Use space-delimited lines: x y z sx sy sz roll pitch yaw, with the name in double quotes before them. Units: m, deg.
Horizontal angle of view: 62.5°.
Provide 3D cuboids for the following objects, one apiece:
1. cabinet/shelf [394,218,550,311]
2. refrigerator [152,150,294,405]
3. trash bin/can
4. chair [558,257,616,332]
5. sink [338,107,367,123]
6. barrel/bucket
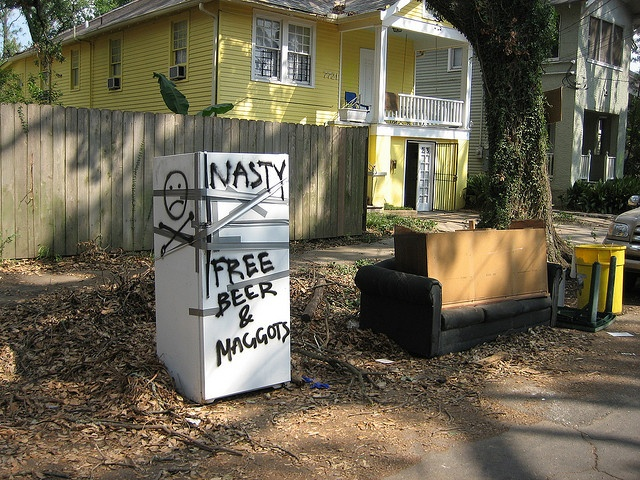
"cabinet/shelf" 2.073 0.345 7.122 2.236 1.088 0.799 -2 2 -31
"refrigerator" -1.027 0.292 5.483 1.410 2.291 1.357 -2 8 -20
"trash bin/can" 4.431 0.614 8.437 0.667 0.981 0.674 1 0 -37
"chair" 4.053 0.808 7.877 0.968 1.175 1.058 5 9 39
"sink" 1.208 -4.585 19.351 0.963 0.503 0.599 -7 16 -37
"barrel/bucket" 4.406 0.598 8.600 0.982 1.406 1.006 -2 -2 0
